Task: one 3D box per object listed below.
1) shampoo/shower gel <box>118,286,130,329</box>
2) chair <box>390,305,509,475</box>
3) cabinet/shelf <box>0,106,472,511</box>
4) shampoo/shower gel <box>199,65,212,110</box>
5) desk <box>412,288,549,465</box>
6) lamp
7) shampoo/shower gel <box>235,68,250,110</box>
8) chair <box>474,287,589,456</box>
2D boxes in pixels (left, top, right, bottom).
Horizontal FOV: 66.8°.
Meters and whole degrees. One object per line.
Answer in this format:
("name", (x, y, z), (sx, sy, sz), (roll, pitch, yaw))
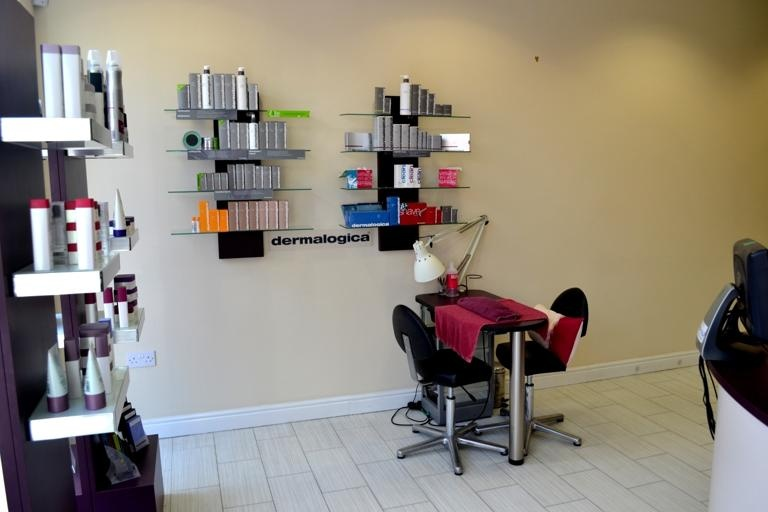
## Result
("shampoo/shower gel", (-1.527, 0.293, 3.411), (0.060, 0.238, 0.058), (-4, 3, -7))
("chair", (0.468, 0.925, 4.406), (0.812, 1.120, 0.826), (-2, 6, -22))
("cabinet/shelf", (-1.033, 0.282, 3.731), (3.085, 2.259, 1.671), (-3, 6, -26))
("shampoo/shower gel", (-1.313, -1.234, 4.275), (0.087, 0.303, 0.044), (-4, 9, -11))
("desk", (0.756, 1.057, 4.829), (0.784, 1.085, 1.522), (2, -6, -16))
("lamp", (0.502, -0.024, 4.810), (0.908, 0.821, 0.360), (-5, 8, -24))
("shampoo/shower gel", (-1.066, -1.242, 4.330), (0.088, 0.296, 0.047), (-5, 10, -17))
("chair", (1.148, 0.865, 5.098), (1.087, 1.498, 1.097), (0, 3, -16))
